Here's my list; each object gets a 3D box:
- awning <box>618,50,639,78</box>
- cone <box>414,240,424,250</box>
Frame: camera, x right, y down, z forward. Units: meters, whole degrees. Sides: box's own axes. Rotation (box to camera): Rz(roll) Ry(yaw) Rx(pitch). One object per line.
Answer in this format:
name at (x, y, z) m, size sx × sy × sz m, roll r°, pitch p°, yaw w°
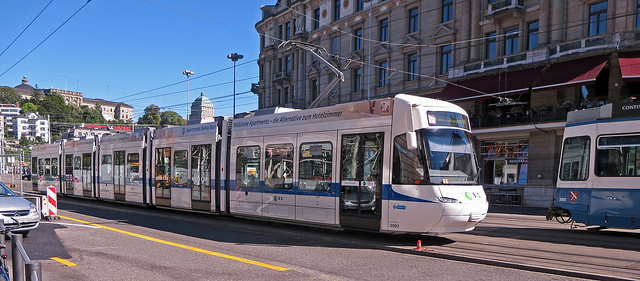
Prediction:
awning at (24.402, -6.009, 38.705) m, size 1.328 × 2.301 × 1.972 m, roll -3°, pitch -1°, yaw 31°
cone at (5.693, 6.013, 28.231) m, size 0.533 × 0.424 × 0.461 m, roll -3°, pitch 2°, yaw -7°
